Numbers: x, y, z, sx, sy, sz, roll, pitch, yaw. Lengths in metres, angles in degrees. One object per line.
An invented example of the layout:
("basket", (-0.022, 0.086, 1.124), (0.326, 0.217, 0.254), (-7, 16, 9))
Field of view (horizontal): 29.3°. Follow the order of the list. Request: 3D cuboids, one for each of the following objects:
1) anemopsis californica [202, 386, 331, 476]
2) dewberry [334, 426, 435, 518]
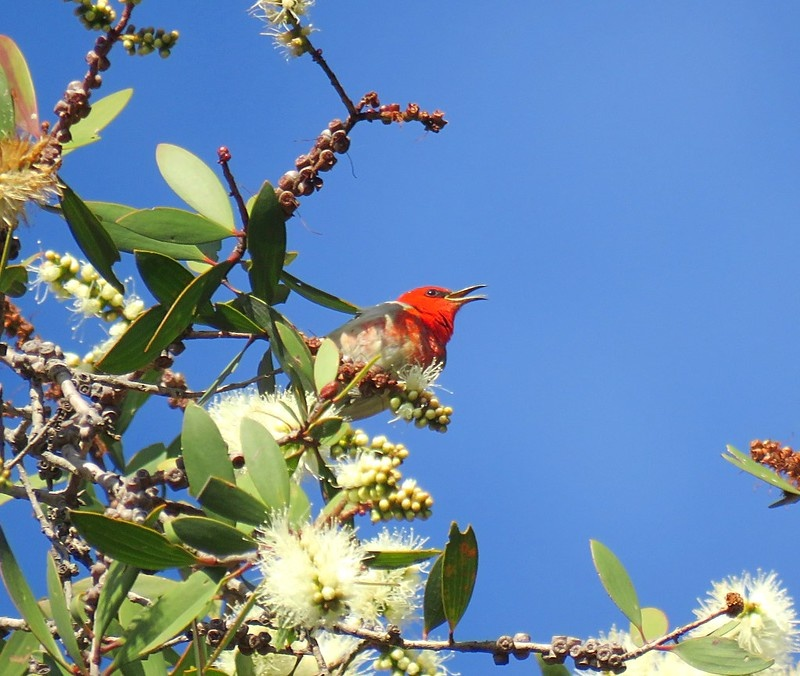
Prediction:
("anemopsis californica", (-0.469, 0.272, 5.141), (0.281, 0.297, 0.221), (-1, -70, 41))
("dewberry", (-0.060, 0.430, 4.662), (0.278, 0.506, 0.254), (19, -94, -15))
